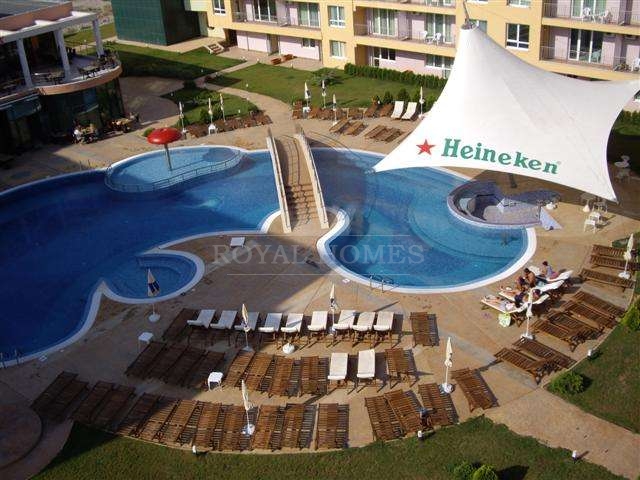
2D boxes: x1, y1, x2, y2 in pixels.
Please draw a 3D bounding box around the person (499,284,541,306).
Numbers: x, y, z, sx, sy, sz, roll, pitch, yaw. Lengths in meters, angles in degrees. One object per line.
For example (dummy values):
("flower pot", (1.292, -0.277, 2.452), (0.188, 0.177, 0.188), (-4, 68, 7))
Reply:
("person", (9.860, 2.607, 22.025), (1.113, 0.360, 1.479), (-11, 24, -15))
